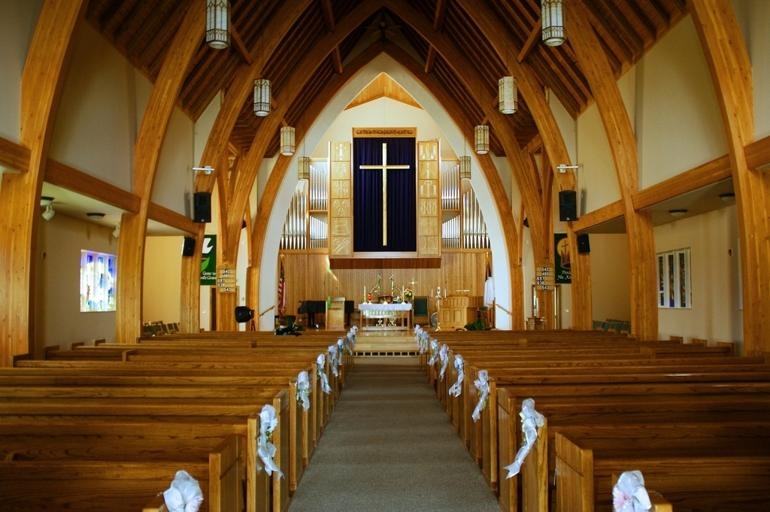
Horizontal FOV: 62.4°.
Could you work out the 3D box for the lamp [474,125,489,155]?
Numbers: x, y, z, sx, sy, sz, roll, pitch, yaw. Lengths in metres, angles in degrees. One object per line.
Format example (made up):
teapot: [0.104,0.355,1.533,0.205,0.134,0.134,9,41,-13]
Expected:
lamp: [2.277,-2.744,14.990,0.305,0.638,0.329,0,2,-2]

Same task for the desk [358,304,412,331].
desk: [0.026,1.909,20.975,1.743,0.883,2.429,1,2,-2]

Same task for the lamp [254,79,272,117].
lamp: [-2.350,-3.033,12.212,0.279,0.701,0.345,0,2,-2]

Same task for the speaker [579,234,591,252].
speaker: [4.450,-0.279,14.177,0.326,0.431,0.174,-1,2,-33]

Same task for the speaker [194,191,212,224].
speaker: [-4.060,-1.086,14.097,0.342,0.658,0.264,0,2,-11]

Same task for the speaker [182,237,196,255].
speaker: [-4.449,-0.224,14.436,0.258,0.457,0.207,-1,2,-37]

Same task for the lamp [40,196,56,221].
lamp: [-5.918,-0.849,11.139,0.260,0.338,0.278,-2,-7,-3]

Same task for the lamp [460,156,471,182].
lamp: [2.243,-2.487,17.877,0.271,0.617,0.386,0,2,0]

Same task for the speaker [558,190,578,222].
speaker: [4.005,-1.109,13.932,0.318,0.628,0.419,1,2,25]

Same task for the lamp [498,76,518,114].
lamp: [2.350,-3.080,12.213,0.307,0.722,0.449,1,2,7]
